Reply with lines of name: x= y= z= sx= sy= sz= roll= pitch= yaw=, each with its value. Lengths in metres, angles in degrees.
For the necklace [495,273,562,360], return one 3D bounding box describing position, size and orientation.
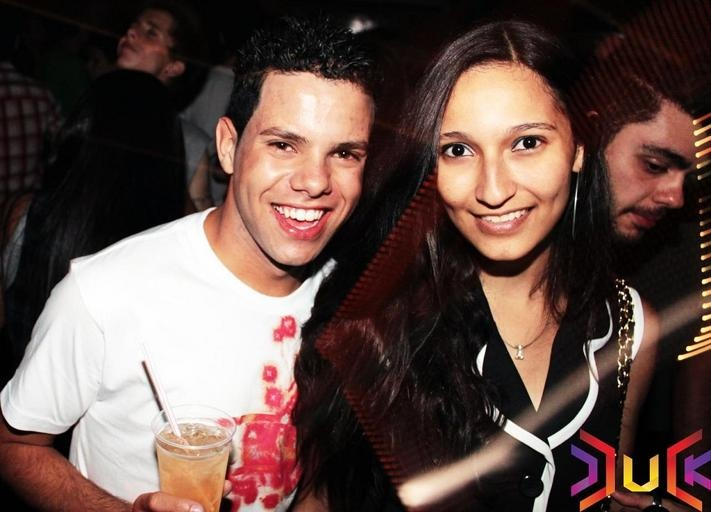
necklace: x=0.921 y=0.324 z=3.380 sx=0.392 sy=0.534 sz=0.031 roll=5 pitch=-13 yaw=-2
